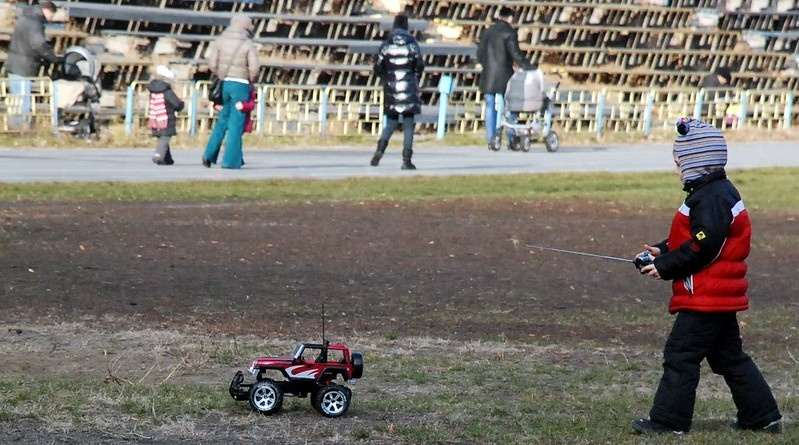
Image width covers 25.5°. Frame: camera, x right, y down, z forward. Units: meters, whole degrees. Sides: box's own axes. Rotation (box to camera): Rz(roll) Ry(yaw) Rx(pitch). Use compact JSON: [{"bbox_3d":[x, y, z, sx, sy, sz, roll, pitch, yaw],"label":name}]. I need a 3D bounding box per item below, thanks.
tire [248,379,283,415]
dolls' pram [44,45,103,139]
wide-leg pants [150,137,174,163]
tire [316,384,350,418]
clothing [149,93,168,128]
[{"bbox_3d":[-3.126,4.145,41.563,0.696,0.709,0.312,11,-2,-1],"label":"tire"},{"bbox_3d":[-10.669,-4.009,55.193,2.098,2.756,2.539,1,2,1],"label":"dolls' pram"},{"bbox_3d":[-6.796,-2.010,51.346,0.473,0.860,0.779,3,-25,9],"label":"wide-leg pants"},{"bbox_3d":[-1.540,4.232,41.611,0.612,0.620,0.246,16,-5,-3],"label":"tire"},{"bbox_3d":[-6.939,-3.185,51.243,0.570,0.983,0.390,-3,-4,7],"label":"clothing"}]
